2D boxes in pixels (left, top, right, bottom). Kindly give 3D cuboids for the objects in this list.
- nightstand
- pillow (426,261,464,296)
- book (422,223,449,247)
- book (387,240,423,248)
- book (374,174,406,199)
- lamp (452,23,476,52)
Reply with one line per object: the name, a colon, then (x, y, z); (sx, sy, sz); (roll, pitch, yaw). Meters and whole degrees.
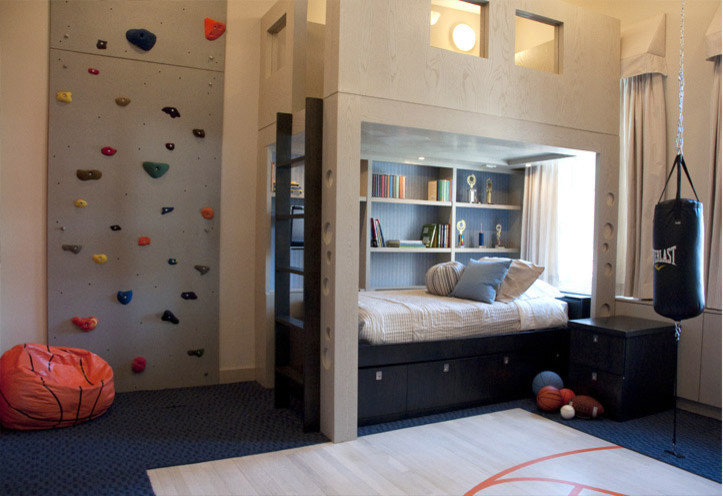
nightstand: (2.400, 1.114, 5.344); (0.890, 0.866, 0.817); (2, -3, -22)
pillow: (0.877, 0.330, 5.850); (0.351, 0.272, 0.360); (1, 2, -14)
book: (0.875, -0.172, 6.560); (0.268, 0.320, 0.331); (1, 2, -29)
book: (0.524, -0.045, 6.326); (0.468, 0.098, 0.204); (0, 12, -4)
book: (0.299, -0.705, 6.220); (0.417, 0.278, 0.104); (-4, 13, -22)
lamp: (0.929, -1.908, 4.923); (0.253, 0.244, 0.077); (-6, 14, -29)
